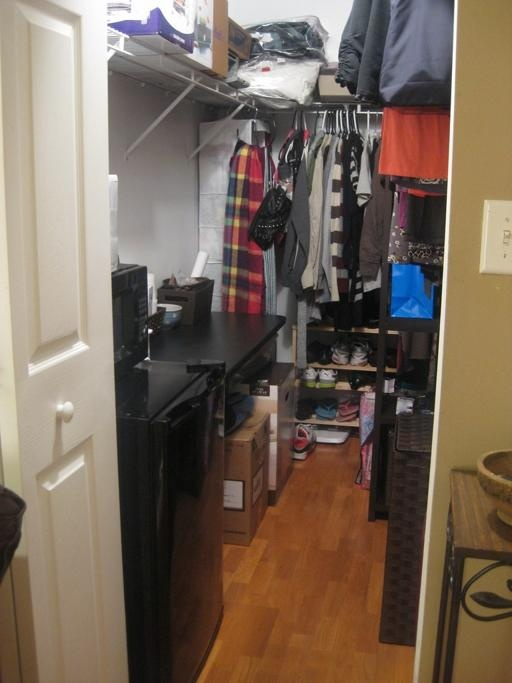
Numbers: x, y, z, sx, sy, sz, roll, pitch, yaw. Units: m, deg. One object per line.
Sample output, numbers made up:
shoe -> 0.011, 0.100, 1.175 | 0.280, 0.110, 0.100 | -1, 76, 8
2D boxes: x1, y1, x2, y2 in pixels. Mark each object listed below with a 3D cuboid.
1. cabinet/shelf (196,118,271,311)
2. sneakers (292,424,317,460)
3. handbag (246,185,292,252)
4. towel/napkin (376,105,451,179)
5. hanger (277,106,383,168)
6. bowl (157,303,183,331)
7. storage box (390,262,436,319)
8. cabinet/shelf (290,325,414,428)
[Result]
cabinet/shelf -> -0.141, -0.730, 3.255 | 0.411, 1.105, 0.298 | -1, 8, -6
sneakers -> 0.275, 0.601, 3.286 | 0.073, 0.116, 0.241 | 0, 11, 10
handbag -> 0.065, -0.719, 3.184 | 0.113, 0.344, 0.191 | 29, 2, -1
towel/napkin -> 0.460, -0.595, 1.654 | 0.206, 0.277, 0.023 | 3, -18, 11
hanger -> 0.389, -1.275, 3.267 | 0.665, 0.219, 0.478 | 2, 10, 12
bowl -> -0.392, -0.113, 2.536 | 0.084, 0.072, 0.103 | 1, 2, 8
storage box -> 0.640, -0.196, 2.329 | 0.173, 0.322, 0.197 | 2, 0, 10
cabinet/shelf -> 0.535, 0.197, 3.128 | 0.460, 0.262, 0.710 | 1, 5, 10
